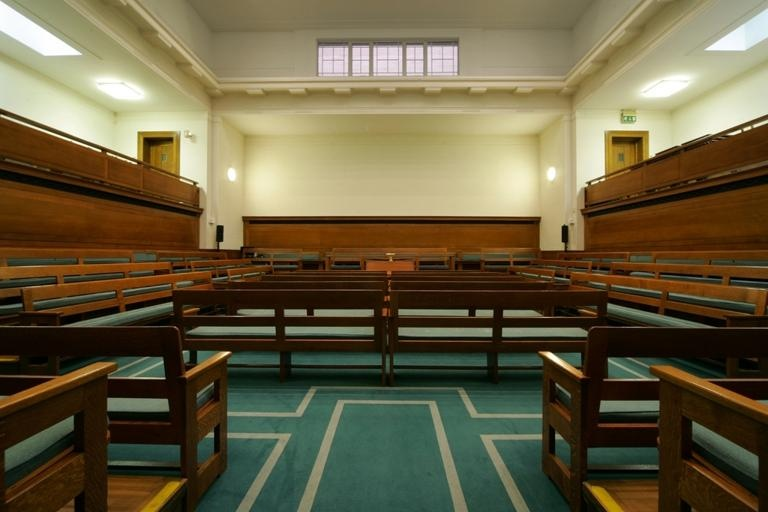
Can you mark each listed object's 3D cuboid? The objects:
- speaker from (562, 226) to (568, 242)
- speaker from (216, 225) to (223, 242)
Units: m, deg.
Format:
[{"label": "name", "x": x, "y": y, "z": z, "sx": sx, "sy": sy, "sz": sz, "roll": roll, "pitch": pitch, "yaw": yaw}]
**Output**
[{"label": "speaker", "x": 4.397, "y": -0.559, "z": 11.981, "sx": 0.171, "sy": 0.342, "sz": 0.091, "roll": -2, "pitch": 0, "yaw": 10}, {"label": "speaker", "x": -4.119, "y": -0.565, "z": 12.242, "sx": 0.171, "sy": 0.438, "sz": 0.201, "roll": -2, "pitch": 0, "yaw": -22}]
